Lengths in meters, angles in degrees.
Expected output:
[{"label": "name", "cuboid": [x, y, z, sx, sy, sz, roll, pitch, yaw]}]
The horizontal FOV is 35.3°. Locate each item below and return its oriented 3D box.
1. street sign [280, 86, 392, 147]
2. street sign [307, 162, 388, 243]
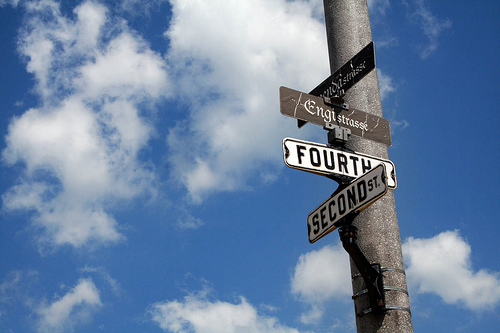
[{"label": "street sign", "cuboid": [1.149, -0.653, 10.446, 1.528, 0.448, 0.038, 12, -42, -23]}, {"label": "street sign", "cuboid": [1.277, 0.435, 10.128, 1.292, 0.788, 0.371, -32, -60, 26]}]
